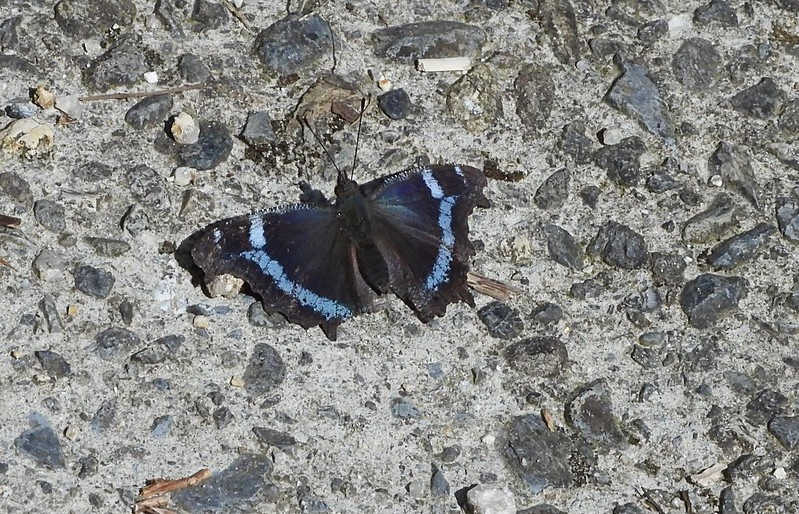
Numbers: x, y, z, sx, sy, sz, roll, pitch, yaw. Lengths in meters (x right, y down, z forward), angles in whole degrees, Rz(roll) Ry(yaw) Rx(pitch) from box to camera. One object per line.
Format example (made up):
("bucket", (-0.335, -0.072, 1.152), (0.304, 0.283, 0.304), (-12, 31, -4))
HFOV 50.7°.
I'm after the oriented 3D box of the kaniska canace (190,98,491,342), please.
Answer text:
("kaniska canace", (-0.585, -0.232, 7.101), (2.783, 0.247, 1.877), (-13, 95, -3))
